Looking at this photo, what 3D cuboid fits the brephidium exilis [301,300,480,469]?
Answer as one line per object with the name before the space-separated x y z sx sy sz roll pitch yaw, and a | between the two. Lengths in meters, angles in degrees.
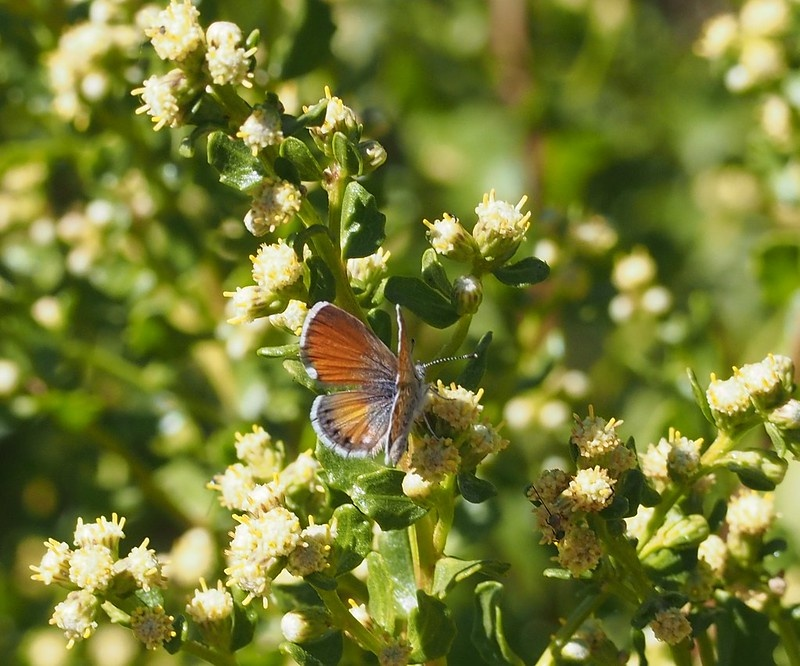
brephidium exilis | -0.001 0.070 1.594 0.250 0.235 0.201 4 -65 23
